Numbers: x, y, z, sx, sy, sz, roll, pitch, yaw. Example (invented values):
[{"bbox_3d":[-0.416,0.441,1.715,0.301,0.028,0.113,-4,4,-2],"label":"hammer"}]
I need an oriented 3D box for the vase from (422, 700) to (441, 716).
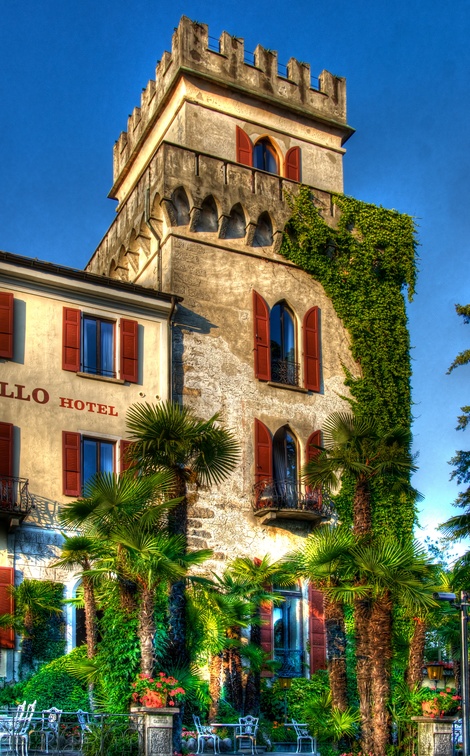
[{"bbox_3d":[3.303,5.581,31.376,0.321,0.351,0.238,-7,-15,17],"label":"vase"}]

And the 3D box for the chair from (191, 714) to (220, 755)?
[{"bbox_3d":[-0.455,6.272,32.695,0.502,0.917,0.608,-6,-18,3],"label":"chair"}]

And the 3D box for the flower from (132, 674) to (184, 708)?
[{"bbox_3d":[-1.183,4.918,29.066,0.519,0.433,0.570,5,-17,-13],"label":"flower"}]

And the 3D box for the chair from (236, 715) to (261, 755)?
[{"bbox_3d":[0.277,6.365,33.401,0.421,0.812,0.534,-1,-32,9],"label":"chair"}]
